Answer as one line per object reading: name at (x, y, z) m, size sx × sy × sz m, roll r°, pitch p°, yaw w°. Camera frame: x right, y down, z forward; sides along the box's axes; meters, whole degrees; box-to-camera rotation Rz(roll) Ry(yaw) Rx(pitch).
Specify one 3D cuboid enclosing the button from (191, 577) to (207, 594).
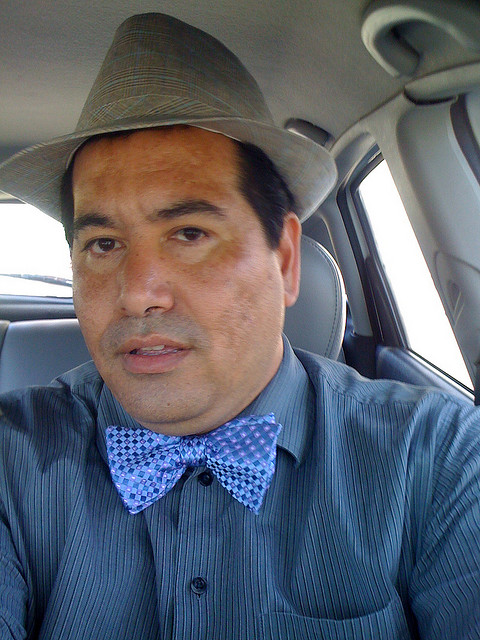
button at (-0.095, 0.632, 1.342) m, size 0.029 × 0.026 × 0.006 m, roll 3°, pitch -37°, yaw -4°

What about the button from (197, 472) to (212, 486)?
button at (-0.092, 0.423, 1.493) m, size 0.031 × 0.029 × 0.007 m, roll 4°, pitch -39°, yaw 5°

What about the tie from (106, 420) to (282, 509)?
tie at (-0.125, 0.338, 1.472) m, size 0.561 × 0.215 × 0.203 m, roll -4°, pitch -2°, yaw 8°
